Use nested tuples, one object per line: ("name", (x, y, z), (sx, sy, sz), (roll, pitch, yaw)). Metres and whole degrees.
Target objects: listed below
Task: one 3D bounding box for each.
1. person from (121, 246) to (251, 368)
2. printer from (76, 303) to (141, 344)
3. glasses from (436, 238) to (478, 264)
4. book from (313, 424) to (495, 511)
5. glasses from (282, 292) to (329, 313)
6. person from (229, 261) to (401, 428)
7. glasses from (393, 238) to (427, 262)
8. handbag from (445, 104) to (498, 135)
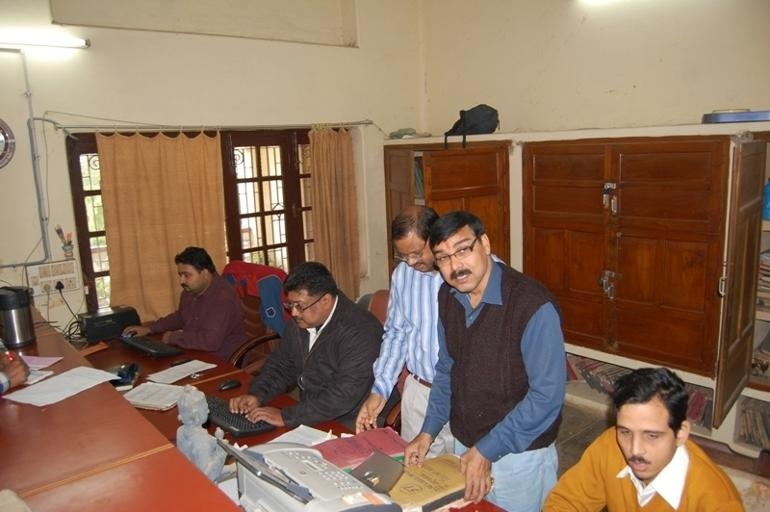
("person", (-1.588, 0.318, 4.765), (0.957, 1.301, 1.005), (11, 15, 38))
("printer", (-2.288, 0.561, 4.337), (0.258, 0.255, 0.464), (7, 12, 41))
("glasses", (0.348, -0.018, 2.537), (0.209, 0.114, 0.067), (-4, 9, 8))
("book", (-0.030, 1.026, 2.614), (0.487, 0.127, 0.479), (-10, 14, -28))
("glasses", (-0.507, 0.268, 3.301), (0.161, 0.044, 0.153), (-27, 16, -34))
("person", (-0.466, 0.644, 3.517), (0.939, 1.146, 1.106), (-1, 11, 21))
("glasses", (0.149, -0.045, 3.057), (0.144, 0.148, 0.058), (-16, 11, 31))
("handbag", (0.940, -1.443, 5.645), (0.510, 0.191, 0.432), (-4, 19, 9))
